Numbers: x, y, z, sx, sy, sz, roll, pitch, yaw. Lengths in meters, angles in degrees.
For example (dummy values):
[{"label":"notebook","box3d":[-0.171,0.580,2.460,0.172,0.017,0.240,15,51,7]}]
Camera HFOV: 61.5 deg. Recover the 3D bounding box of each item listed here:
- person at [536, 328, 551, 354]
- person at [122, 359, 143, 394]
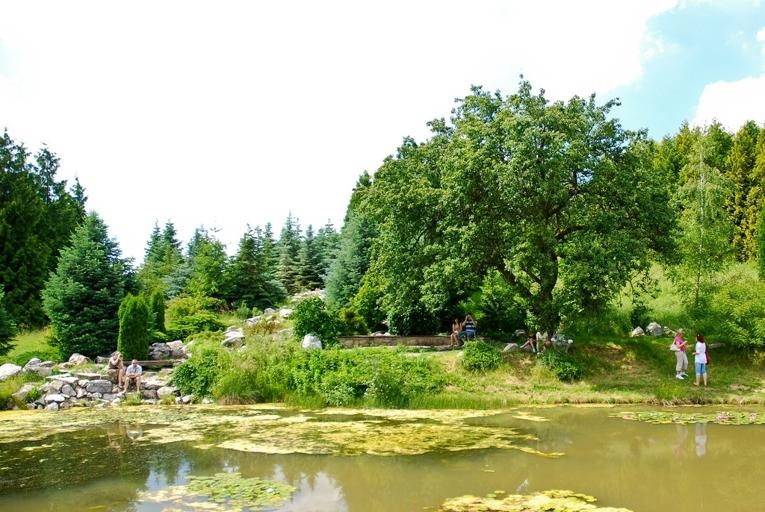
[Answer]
[{"label":"person","box3d":[9.102,4.749,36.319,0.900,1.024,1.401,1,9,13]},{"label":"person","box3d":[-13.262,6.225,33.965,0.945,1.637,1.372,-5,10,-22]}]
